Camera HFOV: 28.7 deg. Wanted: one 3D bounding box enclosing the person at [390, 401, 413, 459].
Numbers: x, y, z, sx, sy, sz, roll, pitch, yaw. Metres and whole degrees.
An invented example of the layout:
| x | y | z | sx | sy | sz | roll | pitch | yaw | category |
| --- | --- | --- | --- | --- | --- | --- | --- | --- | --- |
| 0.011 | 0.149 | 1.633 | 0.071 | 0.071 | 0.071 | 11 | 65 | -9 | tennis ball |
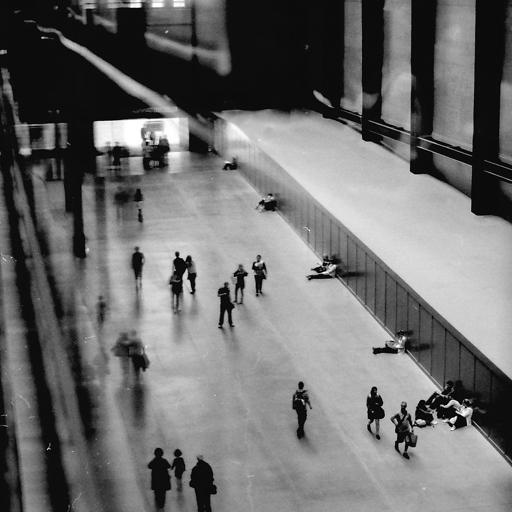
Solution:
| x | y | z | sx | sy | sz | roll | pitch | yaw | category |
| --- | --- | --- | --- | --- | --- | --- | --- | --- | --- |
| 2.676 | 3.103 | 18.250 | 0.367 | 1.008 | 0.559 | -2 | 14 | 7 | person |

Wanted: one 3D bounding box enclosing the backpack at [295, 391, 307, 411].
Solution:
| x | y | z | sx | sy | sz | roll | pitch | yaw | category |
| --- | --- | --- | --- | --- | --- | --- | --- | --- | --- |
| 0.809 | 2.731 | 18.781 | 0.277 | 0.355 | 0.162 | 7 | 18 | 39 | backpack |

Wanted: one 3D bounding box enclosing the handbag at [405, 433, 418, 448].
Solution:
| x | y | z | sx | sy | sz | roll | pitch | yaw | category |
| --- | --- | --- | --- | --- | --- | --- | --- | --- | --- |
| 2.820 | 3.323 | 18.175 | 0.217 | 0.253 | 0.248 | 1 | 10 | 40 | handbag |

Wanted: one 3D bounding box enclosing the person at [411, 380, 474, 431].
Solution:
| x | y | z | sx | sy | sz | roll | pitch | yaw | category |
| --- | --- | --- | --- | --- | --- | --- | --- | --- | --- |
| 3.682 | 2.933 | 19.500 | 0.667 | 0.492 | 0.902 | 6 | 1 | 21 | person |
